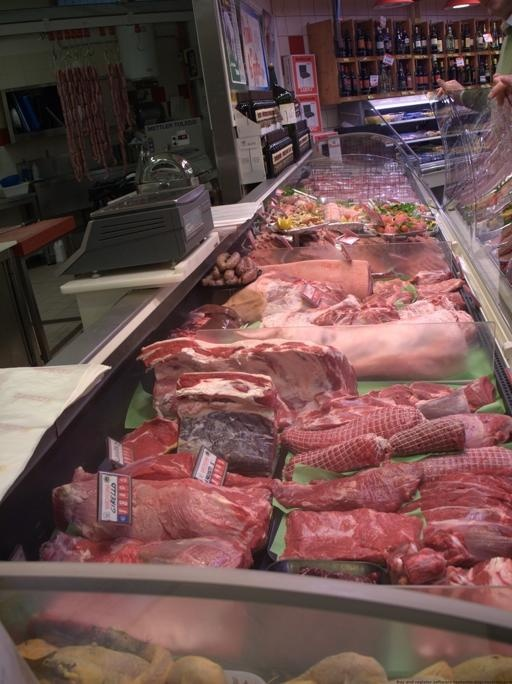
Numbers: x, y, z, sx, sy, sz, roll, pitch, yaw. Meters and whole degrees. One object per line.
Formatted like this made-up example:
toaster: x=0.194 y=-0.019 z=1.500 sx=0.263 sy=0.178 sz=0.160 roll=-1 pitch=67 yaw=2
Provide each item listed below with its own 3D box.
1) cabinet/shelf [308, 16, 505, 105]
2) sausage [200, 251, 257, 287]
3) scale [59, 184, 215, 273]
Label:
cabinet/shelf: x=2.776 y=-5.010 z=8.047 sx=2.996 sy=1.071 sz=0.530 roll=-4 pitch=21 yaw=-1
sausage: x=-0.111 y=-0.269 z=1.793 sx=0.175 sy=0.061 sz=0.169 roll=-3 pitch=38 yaw=11
scale: x=-0.526 y=-0.502 z=2.005 sx=0.536 sy=0.272 sz=0.596 roll=-4 pitch=24 yaw=11
